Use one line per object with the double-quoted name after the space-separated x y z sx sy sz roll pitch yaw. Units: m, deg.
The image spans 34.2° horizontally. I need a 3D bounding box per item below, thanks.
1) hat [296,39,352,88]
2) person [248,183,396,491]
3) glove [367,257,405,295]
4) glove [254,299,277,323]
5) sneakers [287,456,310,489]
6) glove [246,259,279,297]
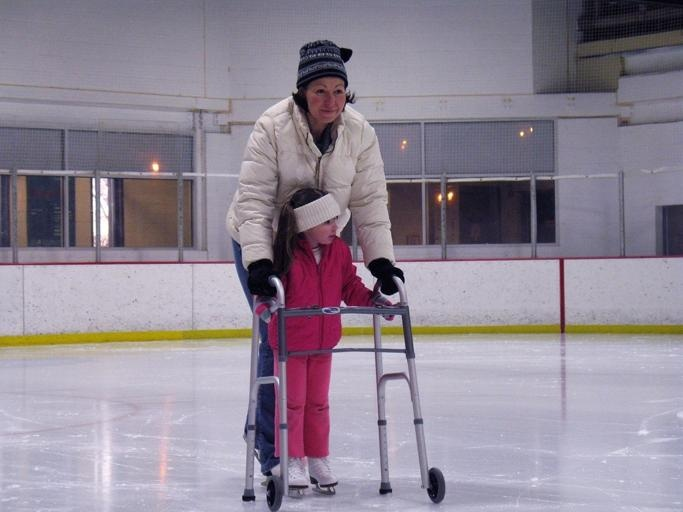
-0.150 -1.578 8.793 0.323 0.267 0.243 -1 10 -37 "hat"
-0.210 0.654 8.811 0.822 2.366 0.595 -11 15 -43 "person"
0.361 0.142 8.912 0.199 0.344 0.145 -31 -13 -2 "glove"
-0.589 0.427 8.575 0.131 0.161 0.182 -3 10 1 "glove"
-0.346 1.707 8.748 0.152 0.229 0.129 -1 11 -2 "sneakers"
-0.626 0.175 8.673 0.216 0.289 0.115 -14 -7 4 "glove"
